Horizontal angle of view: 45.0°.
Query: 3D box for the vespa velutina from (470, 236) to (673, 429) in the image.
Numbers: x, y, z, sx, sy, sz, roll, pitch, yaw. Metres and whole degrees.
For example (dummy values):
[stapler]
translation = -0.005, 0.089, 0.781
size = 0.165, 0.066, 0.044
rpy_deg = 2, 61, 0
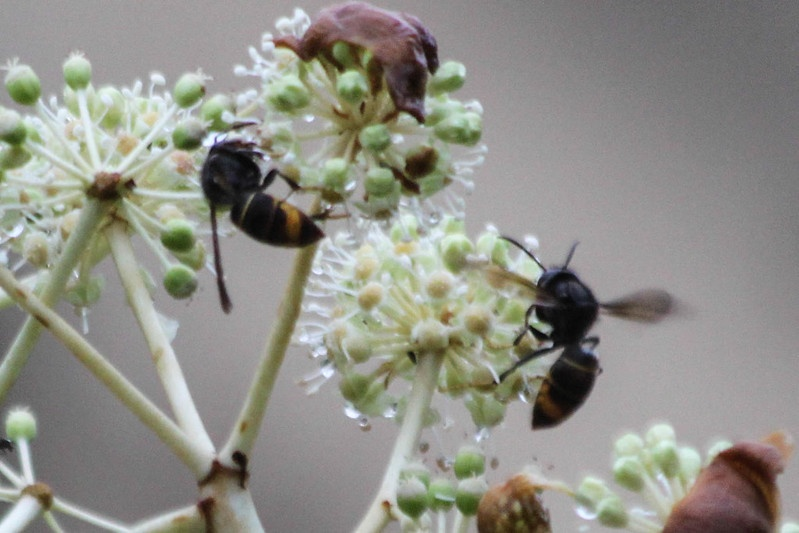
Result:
[vespa velutina]
translation = 0.233, 0.089, 1.329
size = 0.278, 0.273, 0.149
rpy_deg = 16, -42, -14
